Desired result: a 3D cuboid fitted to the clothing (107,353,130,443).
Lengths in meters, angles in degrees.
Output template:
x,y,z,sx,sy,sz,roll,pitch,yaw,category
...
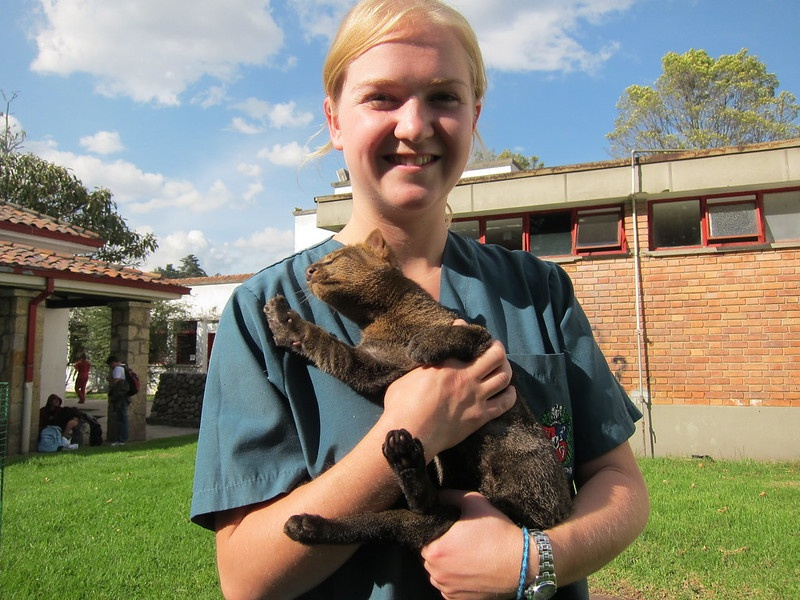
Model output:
x,y,z,sx,sy,sz,roll,pitch,yaw,category
-7.093,2.563,15.456,0.441,1.974,1.074,0,0,-30,clothing
